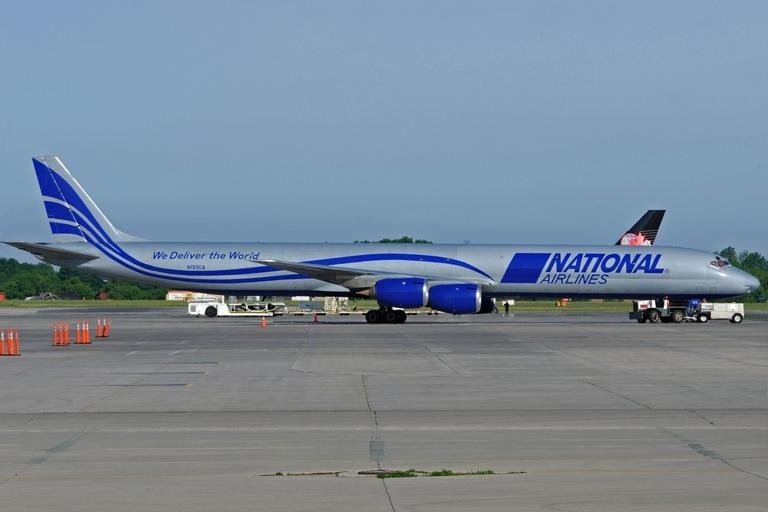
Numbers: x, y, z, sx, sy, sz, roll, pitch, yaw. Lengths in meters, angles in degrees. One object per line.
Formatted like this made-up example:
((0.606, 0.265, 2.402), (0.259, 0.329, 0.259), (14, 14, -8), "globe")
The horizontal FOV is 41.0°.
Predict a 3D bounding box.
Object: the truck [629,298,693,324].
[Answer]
((14.300, 2.778, 52.252), (3.045, 0.714, 1.592), (-1, 3, -13), "truck")
